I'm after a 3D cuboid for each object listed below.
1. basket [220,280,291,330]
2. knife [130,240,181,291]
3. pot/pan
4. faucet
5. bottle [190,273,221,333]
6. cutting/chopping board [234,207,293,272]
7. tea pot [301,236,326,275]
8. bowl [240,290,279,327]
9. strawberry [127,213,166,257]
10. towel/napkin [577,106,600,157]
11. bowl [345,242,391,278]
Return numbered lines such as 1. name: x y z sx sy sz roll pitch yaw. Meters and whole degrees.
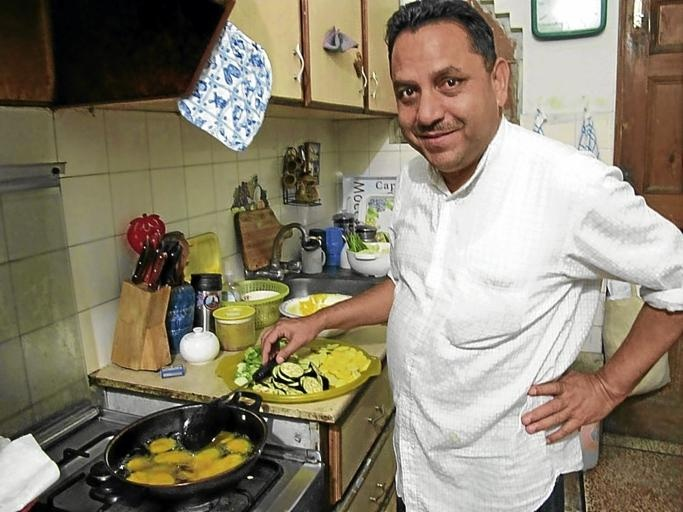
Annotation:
1. basket: -0.346 0.166 2.217 0.183 0.086 0.202 -13 23 -32
2. knife: -0.602 0.029 1.702 0.163 0.167 0.115 -7 13 -28
3. pot/pan: -0.383 0.465 1.326 0.406 0.124 0.290 -7 13 -26
4. faucet: -0.244 -0.030 2.533 0.215 0.263 0.152 3 -11 -12
5. bottle: -0.505 0.169 1.953 0.116 0.221 0.125 1 5 0
6. cutting/chopping board: -0.382 -0.085 2.458 0.033 0.223 0.252 -1 19 28
7. tea pot: -0.150 -0.010 2.703 0.107 0.190 0.179 2 19 8
8. bowl: -0.338 0.199 2.145 0.129 0.079 0.137 -3 11 1
9. strawberry: -0.690 -0.075 1.837 0.038 0.142 0.132 -6 3 45
10. towel/napkin: 1.362 -0.664 2.864 0.114 0.254 0.124 8 51 32
11. bowl: 0.145 0.015 2.697 0.167 0.102 0.197 0 7 7
